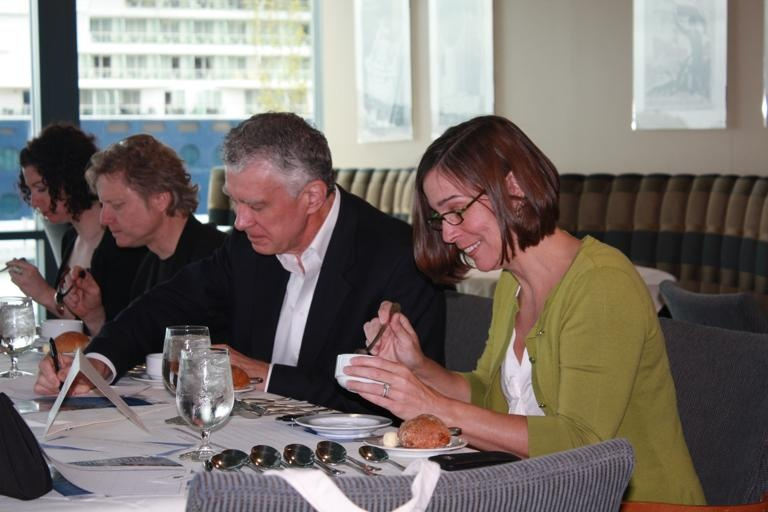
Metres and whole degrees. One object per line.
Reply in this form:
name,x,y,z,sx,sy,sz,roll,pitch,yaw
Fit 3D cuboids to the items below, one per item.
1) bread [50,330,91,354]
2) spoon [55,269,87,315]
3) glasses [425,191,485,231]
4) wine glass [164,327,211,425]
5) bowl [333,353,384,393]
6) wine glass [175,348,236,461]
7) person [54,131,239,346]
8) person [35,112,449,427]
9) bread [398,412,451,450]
bread,-1.182,0.322,3.137,0.105,0.047,0.137,-1,1,-11
spoon,-1.423,0.170,3.792,0.119,0.190,0.066,28,-13,31
glasses,0.252,-0.163,2.672,0.203,0.063,0.196,-36,16,-34
wine glass,-0.598,0.329,2.534,0.154,0.224,0.153,-2,0,40
bowl,-0.094,0.349,2.504,0.104,0.074,0.120,1,-21,6
wine glass,-0.499,0.411,2.335,0.164,0.307,0.166,3,4,20
person,-1.123,-0.045,4.021,0.999,1.082,0.717,-7,15,-25
person,-0.569,-0.034,3.538,1.418,1.535,0.921,3,2,-37
bread,0.115,0.481,2.299,0.094,0.055,0.097,1,2,7
